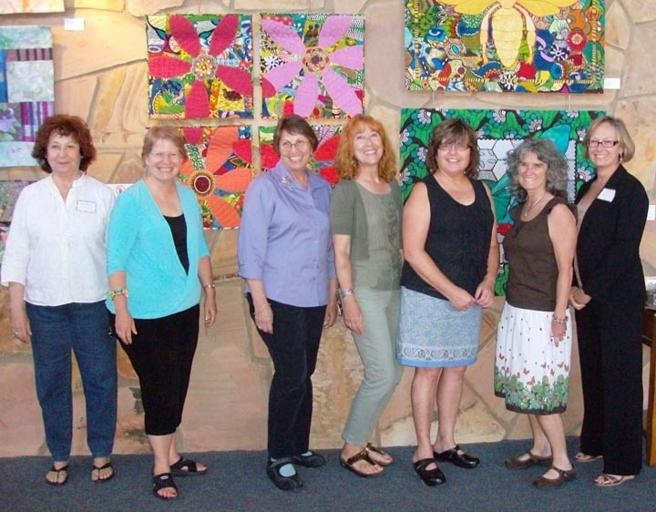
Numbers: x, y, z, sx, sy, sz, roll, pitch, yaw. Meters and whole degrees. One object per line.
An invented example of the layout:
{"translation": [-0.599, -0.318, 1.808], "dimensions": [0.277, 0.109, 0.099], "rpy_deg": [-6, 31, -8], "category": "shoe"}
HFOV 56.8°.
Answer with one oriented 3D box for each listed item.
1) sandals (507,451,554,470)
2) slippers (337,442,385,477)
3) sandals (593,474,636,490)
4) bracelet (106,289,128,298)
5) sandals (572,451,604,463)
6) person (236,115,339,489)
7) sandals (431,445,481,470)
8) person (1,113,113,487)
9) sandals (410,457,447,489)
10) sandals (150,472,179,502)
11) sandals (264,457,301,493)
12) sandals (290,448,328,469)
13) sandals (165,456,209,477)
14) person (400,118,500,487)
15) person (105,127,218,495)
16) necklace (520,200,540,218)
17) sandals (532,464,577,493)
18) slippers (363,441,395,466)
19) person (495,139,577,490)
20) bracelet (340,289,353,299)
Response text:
{"translation": [1.205, 1.234, 3.650], "dimensions": [0.272, 0.091, 0.100], "rpy_deg": [2, 6, -2], "category": "sandals"}
{"translation": [0.194, 1.184, 3.583], "dimensions": [0.230, 0.102, 0.137], "rpy_deg": [11, 22, 30], "category": "slippers"}
{"translation": [1.632, 1.272, 3.447], "dimensions": [0.201, 0.046, 0.088], "rpy_deg": [-3, 24, -3], "category": "sandals"}
{"translation": [-1.135, 0.187, 3.219], "dimensions": [0.057, 0.030, 0.055], "rpy_deg": [-5, 8, 9], "category": "bracelet"}
{"translation": [1.588, 1.218, 3.700], "dimensions": [0.162, 0.042, 0.062], "rpy_deg": [4, 17, 6], "category": "sandals"}
{"translation": [-0.232, 0.249, 3.508], "dimensions": [0.483, 2.094, 0.544], "rpy_deg": [6, 12, 18], "category": "person"}
{"translation": [0.779, 1.216, 3.714], "dimensions": [0.305, 0.120, 0.117], "rpy_deg": [5, 10, 17], "category": "sandals"}
{"translation": [-1.532, 0.413, 3.475], "dimensions": [0.606, 1.797, 0.407], "rpy_deg": [-1, 12, -17], "category": "person"}
{"translation": [0.591, 1.225, 3.468], "dimensions": [0.098, 0.080, 0.193], "rpy_deg": [-13, 28, -15], "category": "sandals"}
{"translation": [-0.909, 1.281, 3.363], "dimensions": [0.091, 0.057, 0.181], "rpy_deg": [-1, 6, -17], "category": "sandals"}
{"translation": [-0.243, 1.249, 3.480], "dimensions": [0.130, 0.076, 0.195], "rpy_deg": [-11, 21, -34], "category": "sandals"}
{"translation": [-0.113, 1.225, 3.676], "dimensions": [0.226, 0.079, 0.081], "rpy_deg": [1, 21, 8], "category": "sandals"}
{"translation": [-0.837, 1.247, 3.604], "dimensions": [0.175, 0.056, 0.094], "rpy_deg": [0, 15, -5], "category": "sandals"}
{"translation": [0.700, 0.246, 3.529], "dimensions": [0.480, 2.053, 0.604], "rpy_deg": [11, 15, 37], "category": "person"}
{"translation": [-0.959, 0.298, 3.410], "dimensions": [0.416, 2.020, 0.512], "rpy_deg": [5, 12, 11], "category": "person"}
{"translation": [1.175, -0.273, 3.517], "dimensions": [0.024, 0.099, 0.075], "rpy_deg": [47, 20, 2], "category": "necklace"}
{"translation": [1.292, 1.264, 3.454], "dimensions": [0.228, 0.091, 0.110], "rpy_deg": [-3, 6, -7], "category": "sandals"}
{"translation": [0.306, 1.225, 3.725], "dimensions": [0.093, 0.065, 0.184], "rpy_deg": [-18, 26, -40], "category": "slippers"}
{"translation": [1.231, 0.302, 3.520], "dimensions": [0.439, 1.934, 0.587], "rpy_deg": [2, 12, -3], "category": "person"}
{"translation": [0.102, 0.205, 3.393], "dimensions": [0.054, 0.033, 0.046], "rpy_deg": [1, 0, -29], "category": "bracelet"}
